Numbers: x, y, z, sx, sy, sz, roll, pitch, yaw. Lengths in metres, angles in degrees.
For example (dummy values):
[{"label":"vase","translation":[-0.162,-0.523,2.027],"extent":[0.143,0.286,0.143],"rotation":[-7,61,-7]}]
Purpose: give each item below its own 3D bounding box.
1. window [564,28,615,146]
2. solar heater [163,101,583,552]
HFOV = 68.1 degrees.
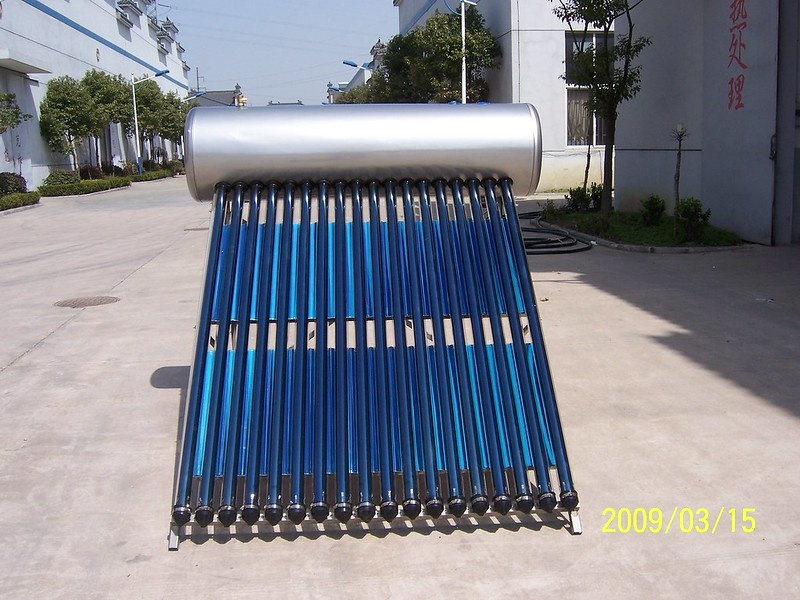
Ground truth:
[{"label":"window","translation":[8.913,-9.894,27.873],"extent":[2.596,5.464,0.173],"rotation":[8,33,27]},{"label":"solar heater","translation":[-0.166,0.023,3.344],"extent":[2.119,2.306,1.644],"rotation":[-1,12,0]}]
